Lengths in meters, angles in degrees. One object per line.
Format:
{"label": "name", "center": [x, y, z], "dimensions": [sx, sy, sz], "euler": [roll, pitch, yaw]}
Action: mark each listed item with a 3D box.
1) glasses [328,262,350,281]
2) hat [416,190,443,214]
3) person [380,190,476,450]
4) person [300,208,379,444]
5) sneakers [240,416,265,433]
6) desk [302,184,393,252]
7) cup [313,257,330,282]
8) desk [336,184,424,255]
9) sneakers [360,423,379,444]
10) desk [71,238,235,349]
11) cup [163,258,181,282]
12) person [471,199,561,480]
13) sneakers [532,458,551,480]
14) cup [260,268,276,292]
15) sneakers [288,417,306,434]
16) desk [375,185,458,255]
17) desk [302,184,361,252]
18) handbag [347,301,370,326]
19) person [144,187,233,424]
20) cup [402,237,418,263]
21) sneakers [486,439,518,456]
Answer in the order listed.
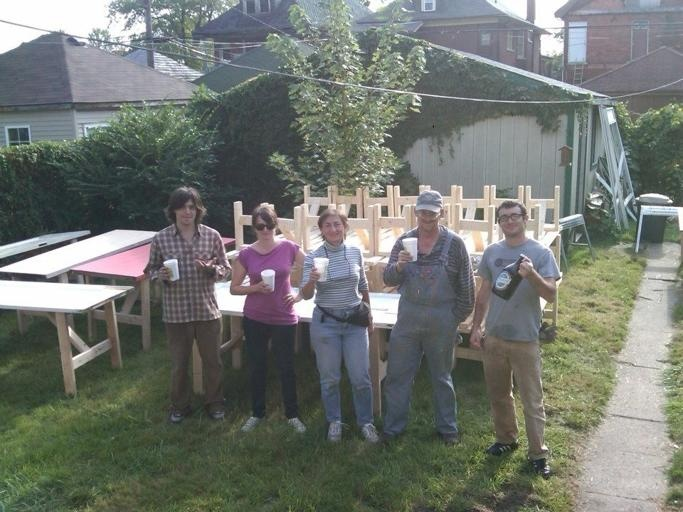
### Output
{"label": "glasses", "center": [-0.033, 0.145, 5.520], "dimensions": [0.155, 0.174, 0.046], "euler": [11, -4, -5]}
{"label": "hat", "center": [0.811, -0.507, 5.393], "dimensions": [0.240, 0.203, 0.270], "euler": [-1, 7, 7]}
{"label": "person", "center": [0.823, 0.605, 5.474], "dimensions": [0.897, 2.422, 0.401], "euler": [-1, 6, 4]}
{"label": "person", "center": [-0.020, 0.678, 5.614], "dimensions": [0.715, 2.256, 0.359], "euler": [-2, 7, -5]}
{"label": "sneakers", "center": [-0.931, 1.710, 5.902], "dimensions": [0.106, 0.064, 0.194], "euler": [21, 32, 8]}
{"label": "desk", "center": [0.220, -0.596, 8.644], "dimensions": [1.205, 0.816, 1.275], "euler": [4, 15, 18]}
{"label": "cup", "center": [-0.194, 0.129, 5.427], "dimensions": [0.128, 0.236, 0.148], "euler": [-2, 7, -3]}
{"label": "desk", "center": [0.526, -0.574, 8.248], "dimensions": [1.174, 0.553, 1.243], "euler": [-7, 14, -7]}
{"label": "sneakers", "center": [0.279, 1.730, 5.660], "dimensions": [0.113, 0.079, 0.200], "euler": [-4, 4, -7]}
{"label": "desk", "center": [-2.946, 0.408, 9.236], "dimensions": [1.173, 1.518, 2.609], "euler": [4, 15, 17]}
{"label": "cup", "center": [-1.722, 0.146, 5.847], "dimensions": [0.144, 0.238, 0.232], "euler": [-4, 7, -16]}
{"label": "person", "center": [1.586, 0.733, 5.303], "dimensions": [0.770, 2.475, 0.519], "euler": [1, 7, 22]}
{"label": "sneakers", "center": [1.821, 1.920, 5.250], "dimensions": [0.104, 0.134, 0.203], "euler": [-1, -3, -10]}
{"label": "cup", "center": [-0.698, 0.206, 5.599], "dimensions": [0.156, 0.190, 0.171], "euler": [-12, 25, 6]}
{"label": "sneakers", "center": [-0.447, 1.705, 5.865], "dimensions": [0.101, 0.075, 0.169], "euler": [-18, 34, -36]}
{"label": "desk", "center": [0.798, -0.547, 8.078], "dimensions": [1.063, 0.565, 1.221], "euler": [1, 14, 13]}
{"label": "desk", "center": [-0.296, -0.720, 9.255], "dimensions": [0.712, 0.786, 1.383], "euler": [2, 20, 7]}
{"label": "handbag", "center": [0.177, 0.560, 5.566], "dimensions": [0.116, 0.233, 0.264], "euler": [3, 9, 37]}
{"label": "person", "center": [-1.570, 0.504, 6.041], "dimensions": [0.804, 2.432, 0.388], "euler": [-4, 7, -20]}
{"label": "cup", "center": [0.625, -0.051, 5.271], "dimensions": [0.164, 0.198, 0.181], "euler": [-6, 5, -3]}
{"label": "sneakers", "center": [1.524, 1.806, 5.533], "dimensions": [0.317, 0.152, 0.124], "euler": [1, 1, -17]}
